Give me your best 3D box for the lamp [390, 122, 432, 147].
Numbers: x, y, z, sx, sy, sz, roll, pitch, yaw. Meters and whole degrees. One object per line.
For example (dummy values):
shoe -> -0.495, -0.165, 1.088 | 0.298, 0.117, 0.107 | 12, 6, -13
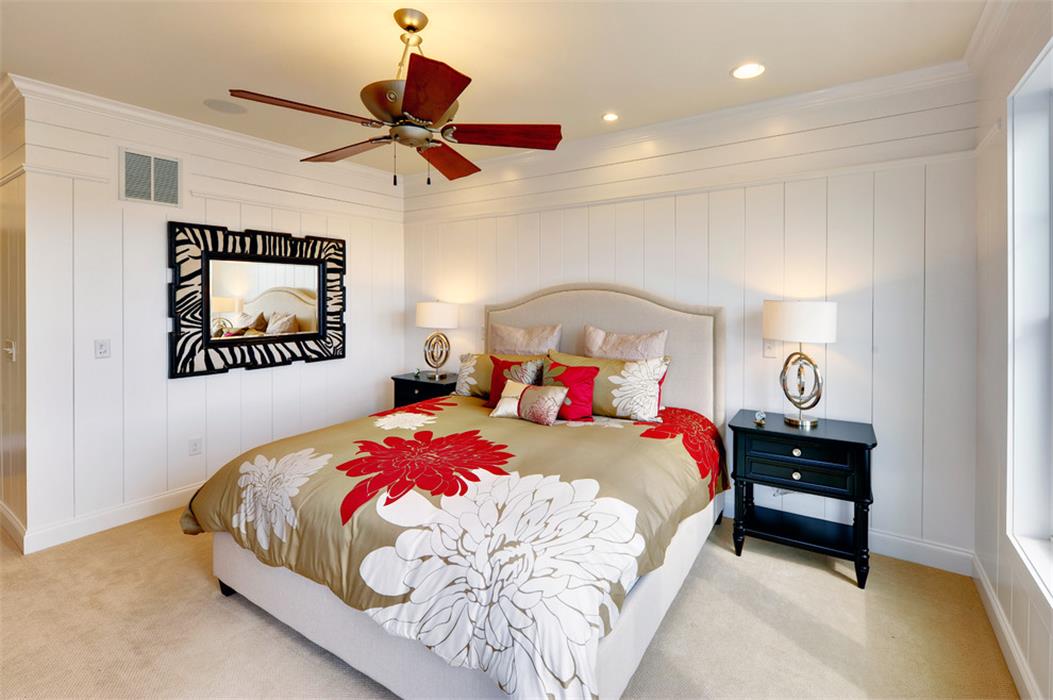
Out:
lamp -> -0.638, -1.230, 3.605 | 0.271, 0.088, 0.176 | 0, 2, -25

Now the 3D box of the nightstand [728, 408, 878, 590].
nightstand -> 1.978, 1.008, 4.497 | 0.945, 0.958, 0.729 | 6, 9, 39

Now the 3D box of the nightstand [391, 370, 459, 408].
nightstand -> -0.899, 0.331, 5.917 | 0.559, 0.510, 0.375 | 2, 3, 39

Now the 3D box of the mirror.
mirror -> -2.356, -0.456, 5.394 | 0.074, 1.157, 1.559 | 0, -1, 35

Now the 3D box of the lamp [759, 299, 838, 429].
lamp -> 1.947, 0.086, 4.469 | 0.510, 0.867, 0.490 | -2, 2, -32
